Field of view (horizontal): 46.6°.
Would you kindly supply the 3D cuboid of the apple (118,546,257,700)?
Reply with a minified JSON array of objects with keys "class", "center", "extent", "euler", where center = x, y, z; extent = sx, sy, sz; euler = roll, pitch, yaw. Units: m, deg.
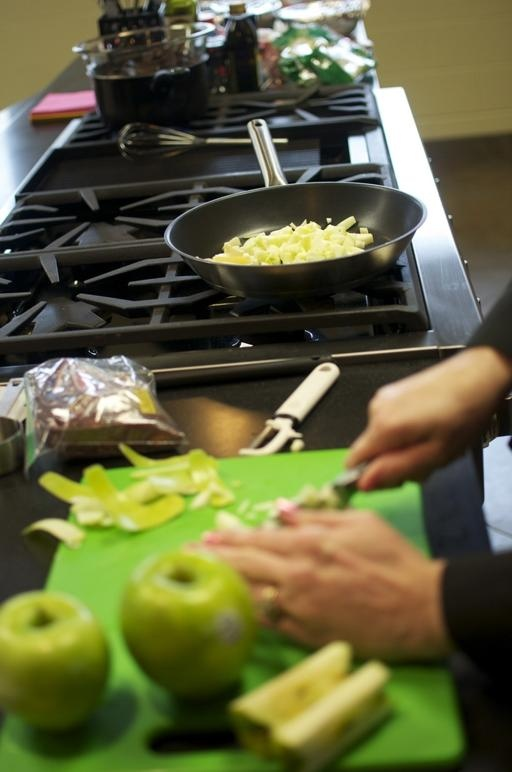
[{"class":"apple","center":[-0.030,0.107,0.263],"extent":[0.055,0.056,0.054],"euler":[6,16,15]}]

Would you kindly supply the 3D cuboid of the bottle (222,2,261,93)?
[{"class":"bottle","center":[-0.039,-0.821,1.445],"extent":[0.089,0.193,0.064],"euler":[-9,35,1]}]
